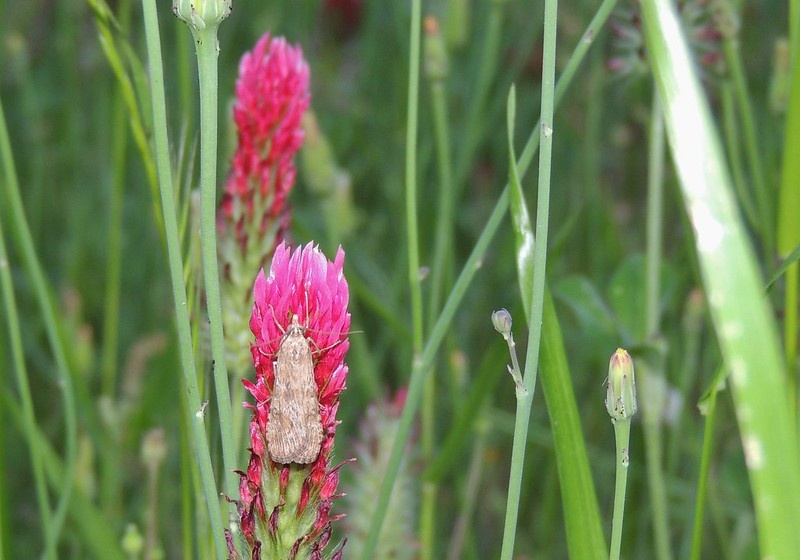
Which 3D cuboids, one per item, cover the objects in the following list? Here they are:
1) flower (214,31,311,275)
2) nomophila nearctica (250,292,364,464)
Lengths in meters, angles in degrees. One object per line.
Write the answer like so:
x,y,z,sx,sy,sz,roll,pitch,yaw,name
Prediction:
-0.157,-0.137,1.109,0.093,0.277,0.349,-6,6,-18,flower
-0.096,0.106,0.897,0.079,0.030,0.147,-6,56,0,nomophila nearctica
